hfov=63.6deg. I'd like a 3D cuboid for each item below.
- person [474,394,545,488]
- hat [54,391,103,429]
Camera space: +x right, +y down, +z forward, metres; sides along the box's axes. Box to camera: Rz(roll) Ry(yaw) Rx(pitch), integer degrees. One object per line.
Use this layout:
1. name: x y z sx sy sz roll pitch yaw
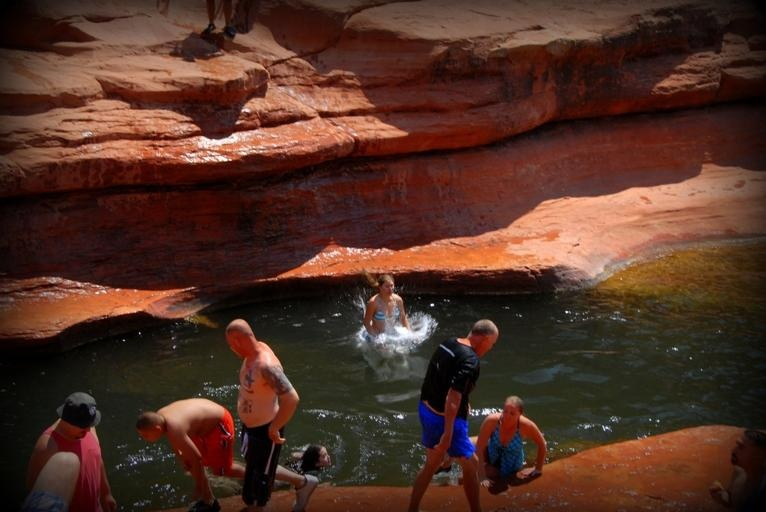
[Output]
1. person: 1.552 2.407 7.990 1.192 1.058 0.714 6 10 -3
2. hat: -3.306 1.691 6.647 0.473 0.214 0.408 23 36 4
